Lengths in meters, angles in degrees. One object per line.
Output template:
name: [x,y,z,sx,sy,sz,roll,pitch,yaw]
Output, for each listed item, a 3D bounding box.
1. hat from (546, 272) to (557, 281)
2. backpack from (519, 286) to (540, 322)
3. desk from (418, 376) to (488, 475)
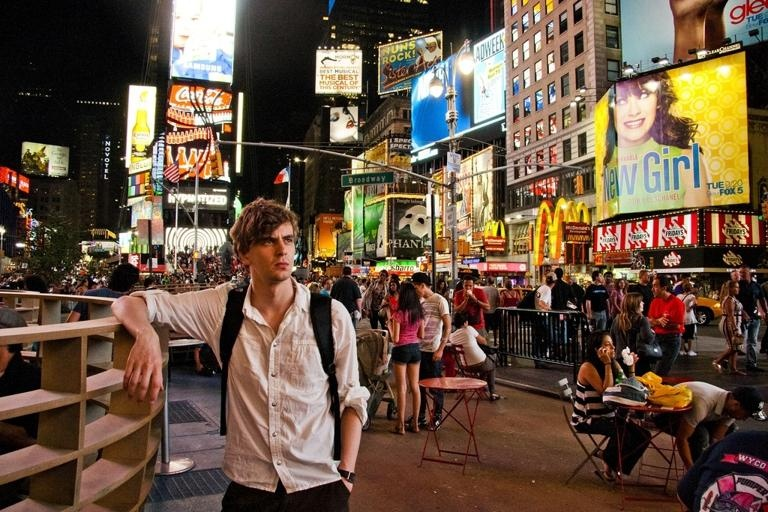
hat: [4.619,0.546,17.691,0.228,0.279,0.306,5,4,43]
backpack: [4.053,1.264,17.980,0.595,0.612,0.335,-1,-21,-47]
desk: [1.235,2.648,10.845,1.159,1.390,1.256,2,9,6]
